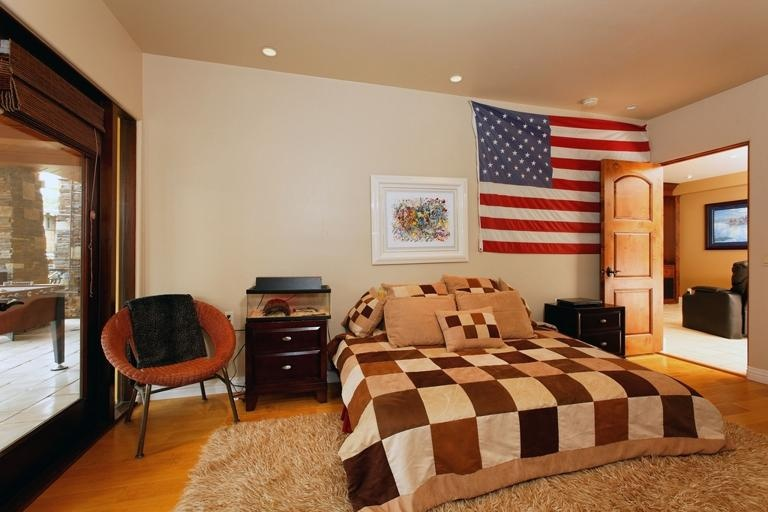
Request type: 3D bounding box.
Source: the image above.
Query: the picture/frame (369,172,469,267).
[{"bbox_3d":[0.338,-0.403,5.831,1.194,0.930,0.085,0,0,-10],"label":"picture/frame"}]

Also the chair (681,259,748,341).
[{"bbox_3d":[4.956,0.603,7.883,1.224,1.064,1.126,0,-1,-26],"label":"chair"}]

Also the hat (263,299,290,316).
[{"bbox_3d":[-1.068,0.522,5.311,0.180,0.113,0.192,0,0,-3],"label":"hat"}]

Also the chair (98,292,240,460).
[{"bbox_3d":[-1.885,0.995,4.870,1.158,1.118,1.106,0,8,-6],"label":"chair"}]

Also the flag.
[{"bbox_3d":[2.002,-0.924,6.226,1.985,1.264,0.094,0,-1,-20],"label":"flag"}]

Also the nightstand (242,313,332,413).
[{"bbox_3d":[-1.059,1.063,5.355,0.860,0.815,0.484,1,-6,-27],"label":"nightstand"}]

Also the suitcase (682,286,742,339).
[{"bbox_3d":[4.606,0.780,7.536,0.614,0.708,0.918,-3,3,-16],"label":"suitcase"}]
